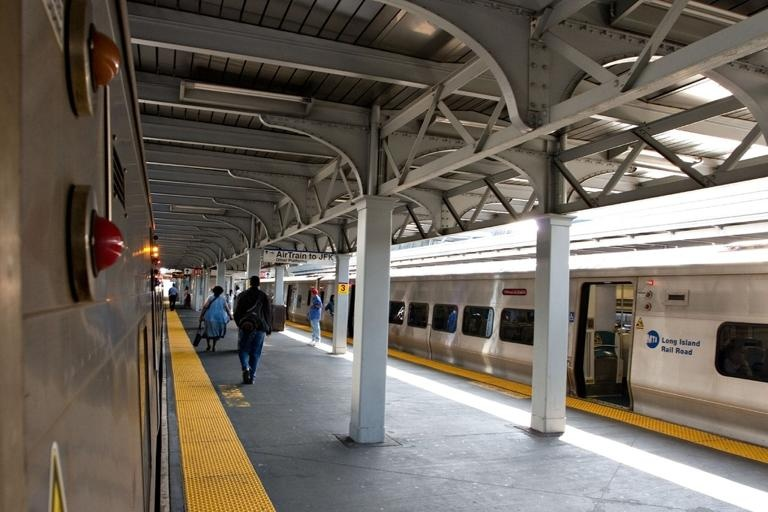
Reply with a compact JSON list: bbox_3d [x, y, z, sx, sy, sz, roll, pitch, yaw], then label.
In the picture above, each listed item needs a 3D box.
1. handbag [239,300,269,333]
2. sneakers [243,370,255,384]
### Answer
[{"bbox_3d":[-2.949,1.410,11.179,0.483,0.726,0.711,-7,-10,34],"label":"handbag"},{"bbox_3d":[-3.192,2.838,11.493,0.151,0.186,0.449,2,-43,-9],"label":"sneakers"}]
